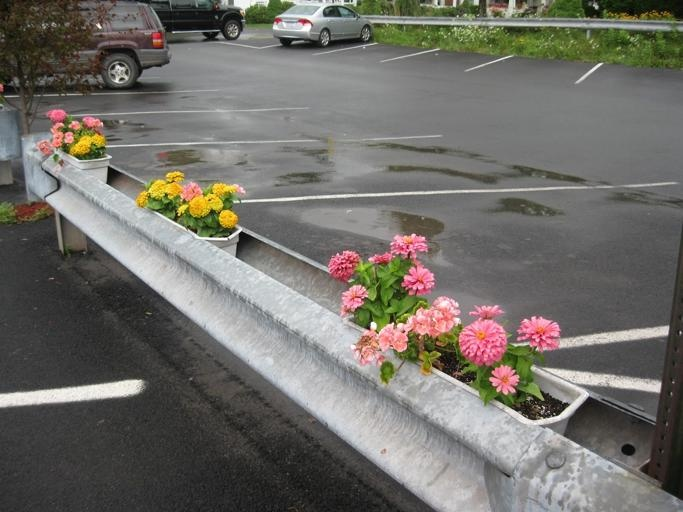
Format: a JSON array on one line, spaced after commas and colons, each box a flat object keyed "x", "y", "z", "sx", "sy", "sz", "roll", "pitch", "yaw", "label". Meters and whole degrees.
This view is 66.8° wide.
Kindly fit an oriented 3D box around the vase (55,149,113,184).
[{"x": -3.010, "y": -1.054, "z": 6.077, "sx": 0.331, "sy": 0.403, "sz": 0.471, "roll": 7, "pitch": 26, "yaw": 25, "label": "vase"}]

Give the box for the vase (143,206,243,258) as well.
[{"x": -1.351, "y": -0.237, "z": 4.613, "sx": 0.724, "sy": 0.441, "sz": 1.234, "roll": -22, "pitch": 9, "yaw": -27, "label": "vase"}]

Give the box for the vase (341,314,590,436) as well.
[{"x": 0.774, "y": 0.582, "z": 2.478, "sx": 0.671, "sy": 0.113, "sz": 0.328, "roll": 28, "pitch": 1, "yaw": 34, "label": "vase"}]

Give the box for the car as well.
[{"x": -0.736, "y": -12.373, "z": 28.097, "sx": 2.347, "sy": 1.650, "sz": 4.954, "roll": 23, "pitch": 35, "yaw": 39, "label": "car"}]
